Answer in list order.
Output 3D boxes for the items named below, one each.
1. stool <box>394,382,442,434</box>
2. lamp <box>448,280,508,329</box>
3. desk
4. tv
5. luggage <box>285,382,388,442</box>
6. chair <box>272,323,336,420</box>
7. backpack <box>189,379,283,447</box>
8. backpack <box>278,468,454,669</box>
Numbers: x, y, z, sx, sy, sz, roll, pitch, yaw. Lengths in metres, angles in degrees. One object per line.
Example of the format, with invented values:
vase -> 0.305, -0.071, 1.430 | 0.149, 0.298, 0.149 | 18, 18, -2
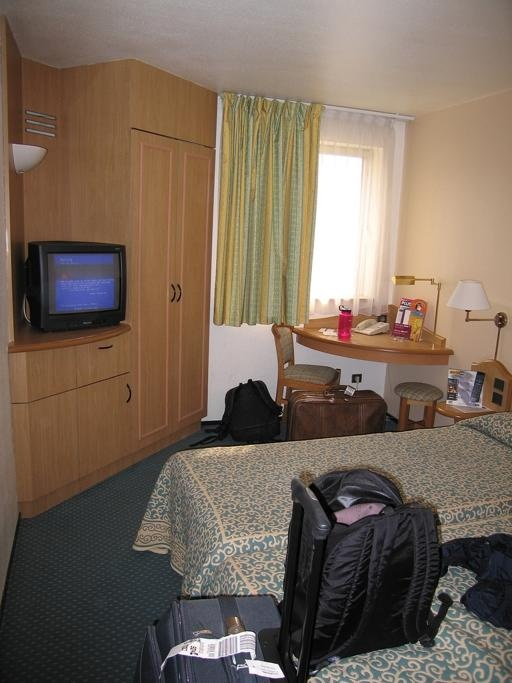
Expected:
stool -> 1.174, 0.468, 3.673 | 0.306, 0.420, 0.313 | 4, 26, 9
lamp -> 1.409, -0.238, 3.257 | 0.410, 0.322, 0.244 | -5, 8, -23
desk -> 0.879, 0.012, 3.952 | 1.203, 0.279, 0.613 | 6, 11, 22
tv -> -1.058, -0.349, 3.018 | 0.506, 0.483, 0.356 | -7, 20, -36
luggage -> 0.500, 0.457, 3.287 | 0.423, 0.293, 0.136 | -3, 13, -12
chair -> 0.401, 0.228, 4.025 | 0.535, 0.735, 0.437 | 9, 16, 31
backpack -> -0.114, 0.547, 3.780 | 0.614, 0.332, 0.453 | -19, -3, 32
backpack -> 0.238, 0.517, 1.200 | 0.368, 0.376, 0.298 | -3, 13, -14
